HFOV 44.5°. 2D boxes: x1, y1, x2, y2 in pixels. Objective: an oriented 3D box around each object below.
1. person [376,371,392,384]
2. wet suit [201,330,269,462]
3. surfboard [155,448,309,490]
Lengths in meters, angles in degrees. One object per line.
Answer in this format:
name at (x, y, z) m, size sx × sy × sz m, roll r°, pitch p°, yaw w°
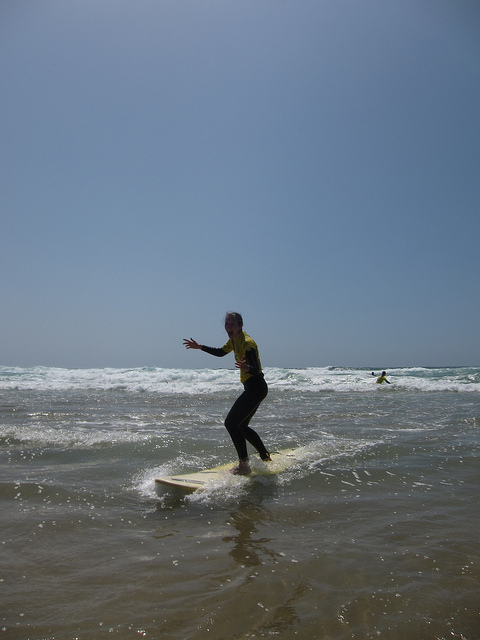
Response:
person at (5.126, 2.101, 21.057) m, size 0.563 × 0.214 × 1.638 m, roll -3°, pitch -4°, yaw 8°
wet suit at (-0.014, 0.756, 5.638) m, size 0.586 × 1.293 × 0.845 m, roll 0°, pitch -2°, yaw 2°
surfboard at (-0.059, 1.517, 5.891) m, size 0.334 × 0.204 × 1.957 m, roll -1°, pitch 0°, yaw 43°
